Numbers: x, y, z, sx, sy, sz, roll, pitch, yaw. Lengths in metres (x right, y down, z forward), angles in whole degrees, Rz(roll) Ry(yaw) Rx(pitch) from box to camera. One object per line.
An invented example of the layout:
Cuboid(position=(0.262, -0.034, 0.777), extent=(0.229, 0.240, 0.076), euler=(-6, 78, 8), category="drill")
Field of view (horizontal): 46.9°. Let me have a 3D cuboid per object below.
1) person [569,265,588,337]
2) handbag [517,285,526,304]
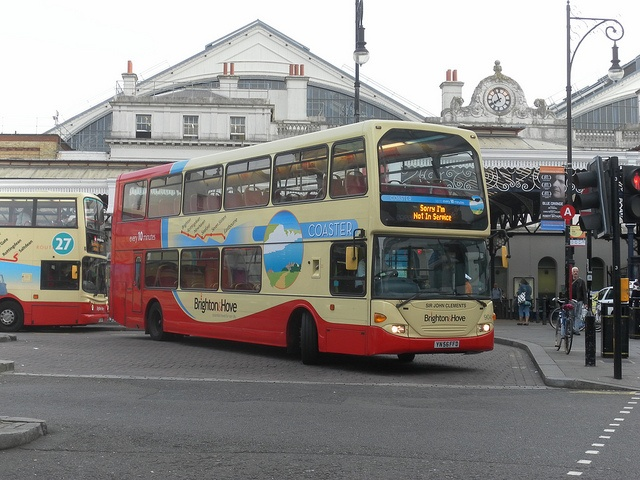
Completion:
Cuboid(position=(7.971, 1.951, 23.219), extent=(0.596, 2.137, 0.658), euler=(3, -4, -38), category="person")
Cuboid(position=(8.136, 2.245, 29.957), extent=(0.285, 0.590, 0.720), euler=(-7, -4, 13), category="handbag")
